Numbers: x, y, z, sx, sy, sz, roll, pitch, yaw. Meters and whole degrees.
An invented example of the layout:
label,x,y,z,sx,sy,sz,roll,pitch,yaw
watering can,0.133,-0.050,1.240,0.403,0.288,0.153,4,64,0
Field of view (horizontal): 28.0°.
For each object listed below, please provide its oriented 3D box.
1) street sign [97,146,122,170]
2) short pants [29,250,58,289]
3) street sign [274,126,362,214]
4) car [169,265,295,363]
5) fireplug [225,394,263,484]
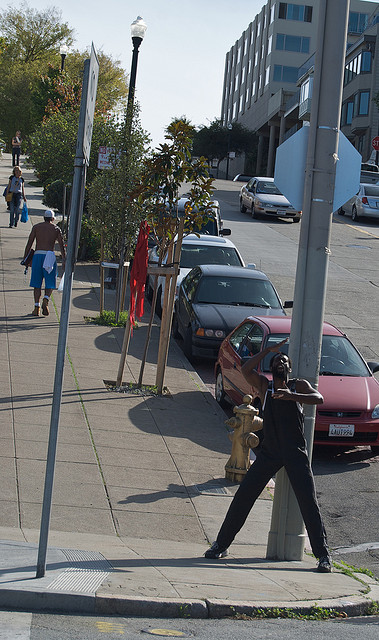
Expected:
label,x,y,z,sx,sy,sz,roll,pitch,yaw
street sign,-1.693,-3.307,15.603,0.555,0.513,0.150,3,-7,43
short pants,-2.766,-0.931,14.405,0.488,0.716,0.535,9,10,-14
street sign,1.013,-1.174,5.981,0.694,0.673,0.448,12,10,7
car,0.541,-0.160,14.097,1.348,1.085,2.548,1,4,-9
fireplug,0.525,1.272,7.933,0.354,0.773,0.331,12,10,5
